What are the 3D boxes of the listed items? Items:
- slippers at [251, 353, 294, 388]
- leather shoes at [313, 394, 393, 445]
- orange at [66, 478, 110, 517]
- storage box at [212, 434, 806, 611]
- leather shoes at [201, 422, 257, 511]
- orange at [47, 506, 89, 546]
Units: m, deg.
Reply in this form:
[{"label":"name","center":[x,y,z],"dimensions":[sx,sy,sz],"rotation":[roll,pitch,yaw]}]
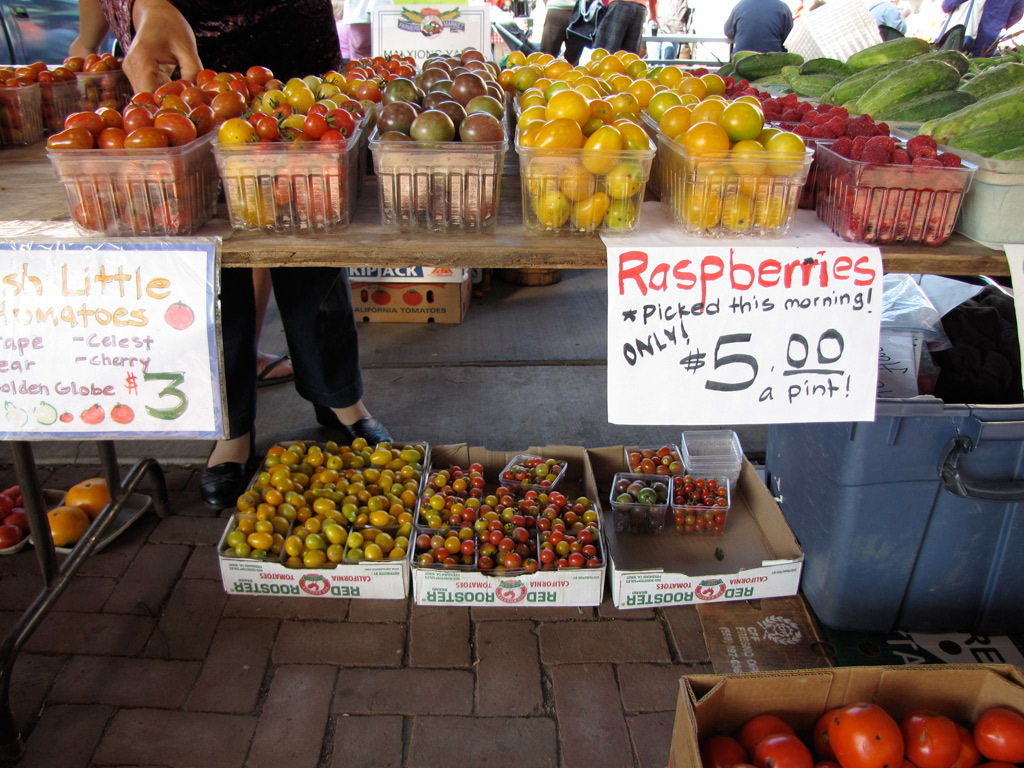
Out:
[{"label":"slippers","center":[-1.297,-0.068,3.704],"dimensions":[0.315,0.076,0.116],"rotation":[-9,28,-17]},{"label":"leather shoes","center":[-0.707,0.183,3.236],"dimensions":[0.501,0.139,0.163],"rotation":[19,42,20]},{"label":"orange","center":[-1.576,0.426,2.662],"dimensions":[0.125,0.111,0.119],"rotation":[21,24,18]},{"label":"storage box","center":[-0.007,0.525,2.439],"dimensions":[1.814,0.219,0.748],"rotation":[0,32,1]},{"label":"leather shoes","center":[-1.109,0.337,2.946],"dimensions":[0.161,0.161,0.418],"rotation":[3,25,0]},{"label":"orange","center":[-1.555,0.498,2.498],"dimensions":[0.127,0.113,0.120],"rotation":[-21,-9,-4]}]
